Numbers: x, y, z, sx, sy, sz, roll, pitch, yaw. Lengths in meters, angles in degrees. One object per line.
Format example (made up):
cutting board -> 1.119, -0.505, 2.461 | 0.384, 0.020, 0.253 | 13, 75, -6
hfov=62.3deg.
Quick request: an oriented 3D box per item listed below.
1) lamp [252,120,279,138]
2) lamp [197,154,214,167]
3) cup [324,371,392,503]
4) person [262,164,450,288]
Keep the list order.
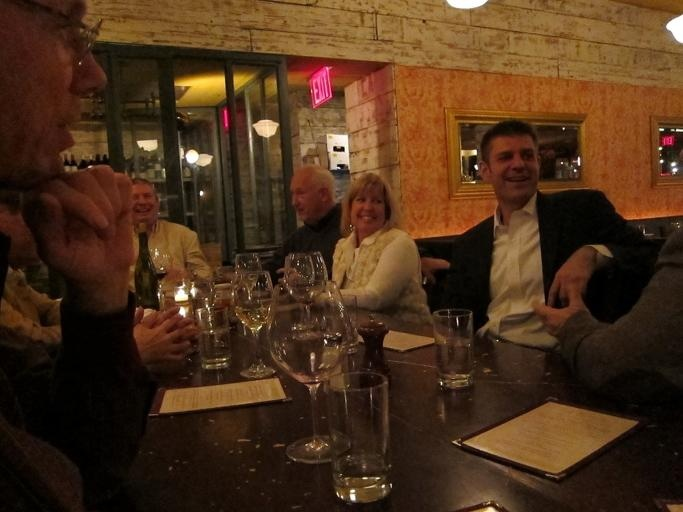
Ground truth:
lamp -> -0.696, -1.130, 5.043 | 0.183, 0.095, 0.181 | 1, 3, 0
lamp -> -1.253, -0.870, 5.179 | 0.118, 0.101, 0.196 | -3, 14, 5
cup -> 0.033, 0.333, 1.029 | 0.113, 0.204, 0.099 | -5, 14, 1
person -> -0.014, -0.193, 4.088 | 0.753, 1.253, 0.974 | 5, -5, -21
